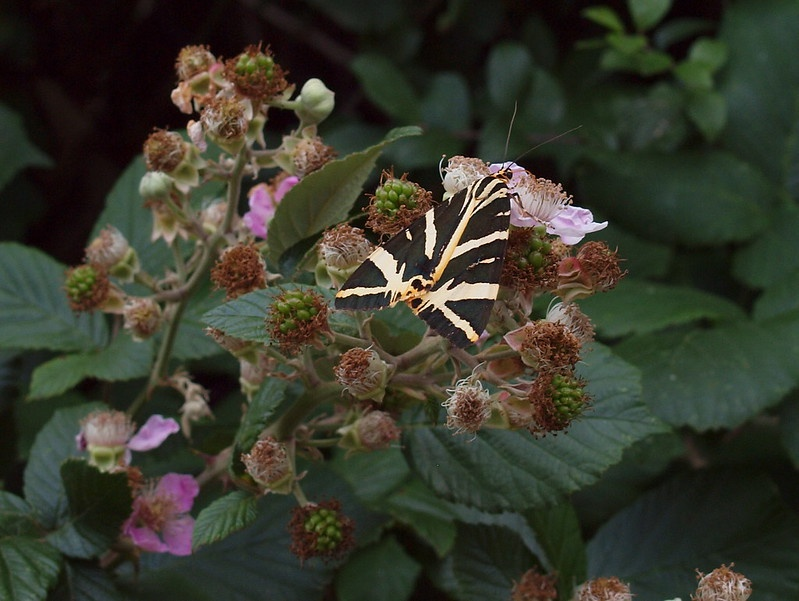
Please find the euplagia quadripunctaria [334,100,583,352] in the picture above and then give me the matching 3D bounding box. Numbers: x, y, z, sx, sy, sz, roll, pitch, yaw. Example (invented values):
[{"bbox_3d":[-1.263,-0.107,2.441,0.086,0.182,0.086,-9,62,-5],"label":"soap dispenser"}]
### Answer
[{"bbox_3d":[0.124,-0.124,2.167,0.274,0.146,0.564,28,80,24],"label":"euplagia quadripunctaria"}]
